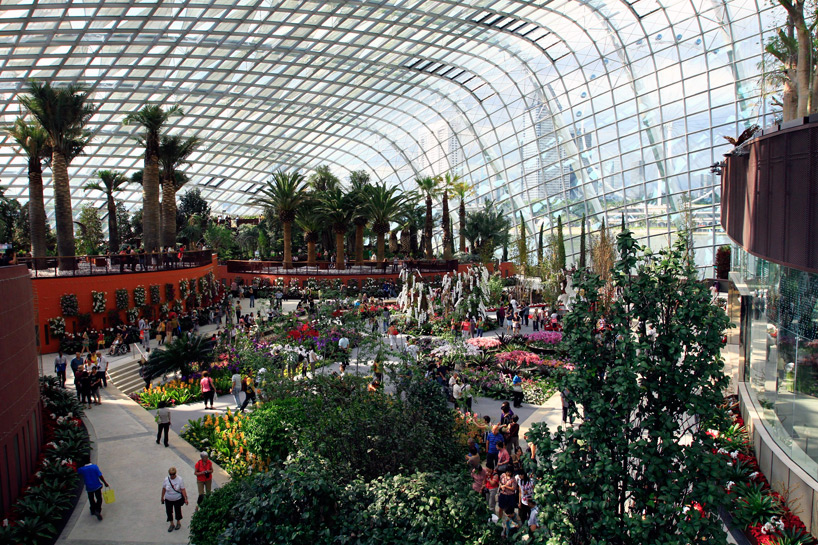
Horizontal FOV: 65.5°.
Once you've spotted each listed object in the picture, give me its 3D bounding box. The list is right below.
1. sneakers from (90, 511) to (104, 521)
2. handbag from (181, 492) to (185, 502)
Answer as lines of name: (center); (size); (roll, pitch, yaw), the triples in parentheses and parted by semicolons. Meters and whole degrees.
sneakers: (-9.274, 7.239, 18.920); (0.164, 0.222, 0.486); (1, 2, -42)
handbag: (-6.593, 6.580, 18.578); (0.063, 0.219, 0.151); (3, 0, -38)
